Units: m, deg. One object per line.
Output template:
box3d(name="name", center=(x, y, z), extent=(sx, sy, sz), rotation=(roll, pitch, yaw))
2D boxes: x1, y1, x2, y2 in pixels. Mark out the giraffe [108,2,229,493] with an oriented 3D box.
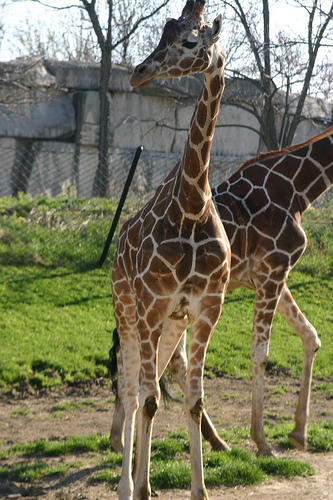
box3d(name="giraffe", center=(0.028, 0.096, 7.266), extent=(0.932, 3.706, 1.802), rotation=(2, -2, -2))
